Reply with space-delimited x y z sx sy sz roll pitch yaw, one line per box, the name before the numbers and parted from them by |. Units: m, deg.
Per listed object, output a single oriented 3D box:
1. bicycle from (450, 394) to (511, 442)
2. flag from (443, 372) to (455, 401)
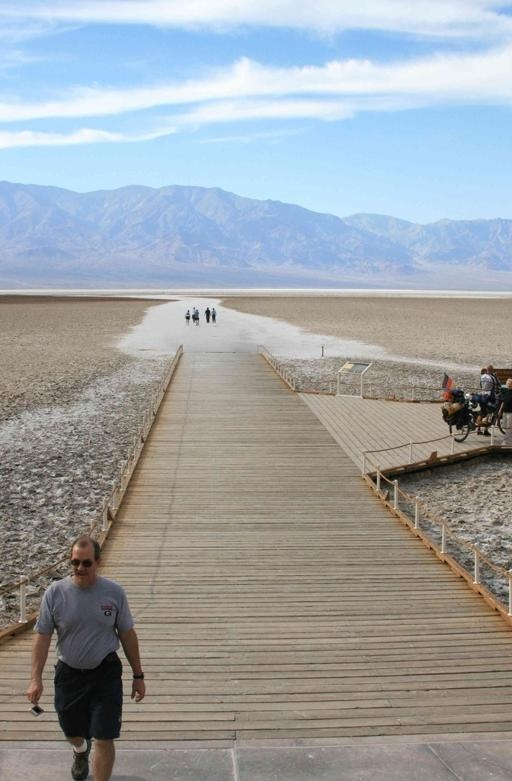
bicycle | 5.072 0.643 18.263 1.912 1.140 0.921 -2 0 -34
flag | 4.436 -0.012 17.326 0.248 0.622 0.739 3 8 15
